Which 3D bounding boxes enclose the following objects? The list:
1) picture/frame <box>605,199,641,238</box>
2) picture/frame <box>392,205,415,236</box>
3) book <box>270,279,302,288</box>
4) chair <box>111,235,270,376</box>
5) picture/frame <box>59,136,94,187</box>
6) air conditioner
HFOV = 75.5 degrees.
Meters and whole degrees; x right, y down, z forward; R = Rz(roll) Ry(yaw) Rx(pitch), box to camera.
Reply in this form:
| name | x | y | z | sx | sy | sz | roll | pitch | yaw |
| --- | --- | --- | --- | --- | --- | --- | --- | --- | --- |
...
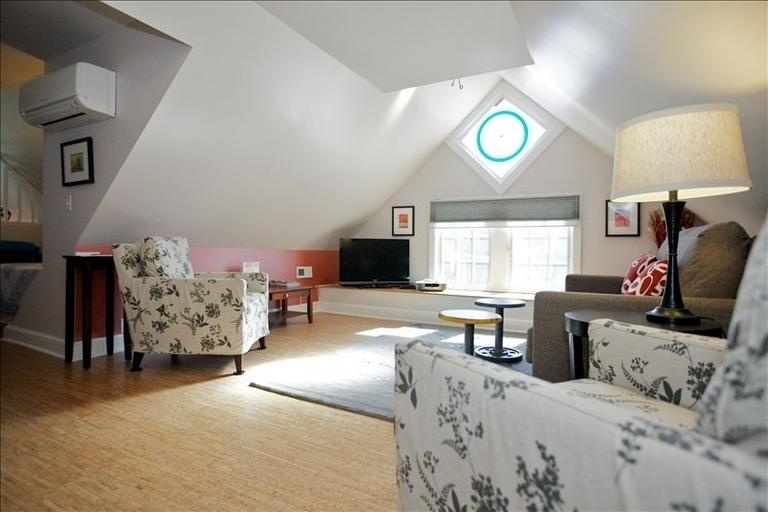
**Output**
| name | x | y | z | sx | sy | sz | roll | pitch | yaw |
| --- | --- | --- | --- | --- | --- | --- | --- | --- | --- |
| picture/frame | 2.636 | -0.404 | 5.448 | 0.436 | 0.536 | 0.036 | -1 | -6 | 28 |
| picture/frame | 0.274 | -0.484 | 6.810 | 0.415 | 0.499 | 0.038 | -2 | -5 | 23 |
| book | -1.199 | 0.334 | 5.772 | 0.351 | 0.058 | 0.469 | -2 | 4 | -26 |
| chair | -1.625 | 0.405 | 4.409 | 1.156 | 1.144 | 1.088 | 0 | -1 | -2 |
| picture/frame | -2.638 | -0.812 | 4.269 | 0.452 | 0.431 | 0.036 | 1 | 1 | 34 |
| air conditioner | -2.648 | -1.300 | 4.131 | 0.771 | 0.386 | 0.344 | -4 | -1 | 25 |
